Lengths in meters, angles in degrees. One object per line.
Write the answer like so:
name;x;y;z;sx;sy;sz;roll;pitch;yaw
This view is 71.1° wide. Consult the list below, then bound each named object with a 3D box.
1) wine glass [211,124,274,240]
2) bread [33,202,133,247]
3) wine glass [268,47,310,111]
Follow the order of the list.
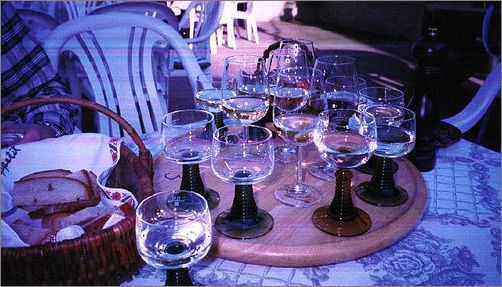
wine glass;-0.028;0.126;1.205;0.247;0.309;0.217;3;12;18
bread;-0.549;0.219;1.098;0.211;0.060;0.198;-7;-2;18
wine glass;0.151;-0.265;1.482;0.212;0.259;0.172;-5;25;-11
